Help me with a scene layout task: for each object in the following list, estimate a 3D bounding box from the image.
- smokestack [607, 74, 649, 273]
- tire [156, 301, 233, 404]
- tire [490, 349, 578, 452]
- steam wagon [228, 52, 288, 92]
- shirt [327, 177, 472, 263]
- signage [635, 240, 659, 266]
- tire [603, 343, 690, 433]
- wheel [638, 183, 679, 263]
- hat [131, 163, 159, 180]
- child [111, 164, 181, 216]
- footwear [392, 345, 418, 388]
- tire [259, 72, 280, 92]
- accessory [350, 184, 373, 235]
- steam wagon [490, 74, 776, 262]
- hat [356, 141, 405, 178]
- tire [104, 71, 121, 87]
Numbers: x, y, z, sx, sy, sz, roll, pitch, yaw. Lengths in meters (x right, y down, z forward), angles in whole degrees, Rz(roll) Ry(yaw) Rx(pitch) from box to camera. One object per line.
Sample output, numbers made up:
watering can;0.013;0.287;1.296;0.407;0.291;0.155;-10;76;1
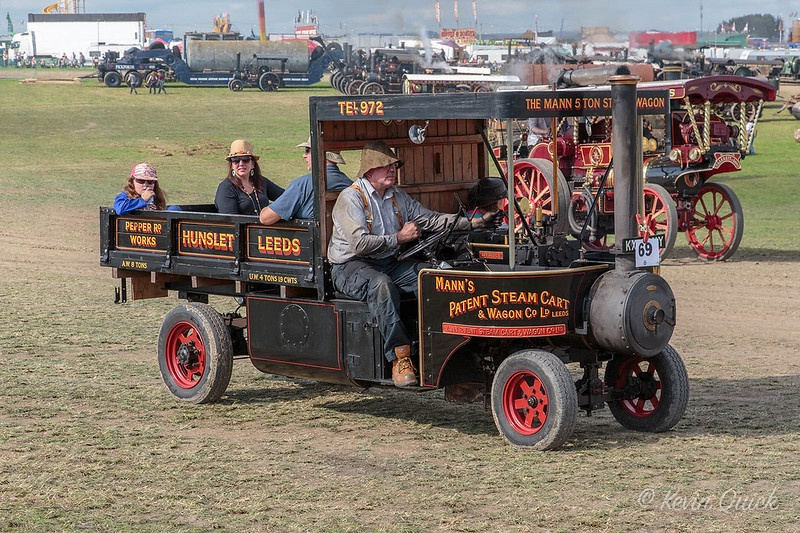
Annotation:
smokestack;2.223;-0.926;13.652;0.338;1.867;0.590;1;15;9
tire;-2.185;0.972;15.136;0.262;0.745;0.875;-14;37;-45
tire;1.320;1.311;13.619;0.748;0.796;0.266;-36;-15;25
steam wagon;-6.484;-8.948;63.928;2.787;1.606;1.695;2;5;0
shirt;-0.017;-0.485;14.336;1.266;0.713;0.900;0;7;26
signage;2.409;-0.144;13.685;0.014;0.212;0.279;2;4;45
tire;2.468;1.226;14.021;1.026;1.042;0.398;0;3;44
wheel;3.897;-0.718;21.172;0.519;1.156;1.220;-19;2;4
hat;-2.901;-1.100;15.989;0.228;0.158;0.310;12;-12;-22
child;-2.967;-0.895;15.911;0.714;0.347;0.691;-2;5;-37
footwear;0.073;1.004;13.938;0.218;0.416;0.181;-6;16;-19
tire;-5.859;-8.433;63.320;1.142;1.025;0.442;-4;5;-32
accessory;-0.453;-0.599;14.258;0.113;0.442;0.331;-31;-39;9
steam wagon;3.450;-1.576;22.743;2.751;2.775;5.118;4;0;-27
hat;-0.228;-1.129;14.360;0.399;0.231;0.393;-7;-5;-8
tire;-12.233;-8.141;60.197;0.836;0.747;0.311;5;1;-19
